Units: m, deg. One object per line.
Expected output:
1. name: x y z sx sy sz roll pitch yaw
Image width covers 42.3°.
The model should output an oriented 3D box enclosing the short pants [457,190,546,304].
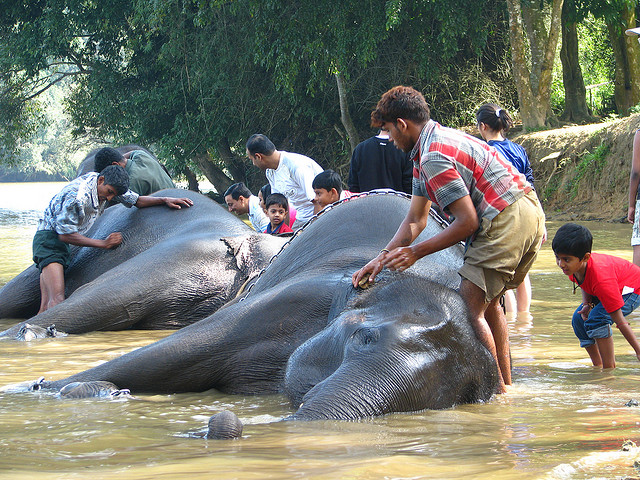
1. short pants: 1.147 0.033 5.170 0.645 0.669 0.250 -6 8 -38

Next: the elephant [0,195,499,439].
1. elephant: -0.071 0.425 5.107 2.195 1.166 1.473 2 6 31

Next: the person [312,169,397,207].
1. person: 0.298 -0.453 7.179 0.448 0.246 0.881 21 13 25

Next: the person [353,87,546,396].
1. person: 0.843 -0.017 5.150 1.252 1.882 0.959 -2 6 -8

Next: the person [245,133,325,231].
1. person: -0.316 -0.516 9.175 0.849 1.315 0.525 4 23 20

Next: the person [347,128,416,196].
1. person: 0.541 -0.565 7.580 0.641 0.756 0.307 3 -31 -3

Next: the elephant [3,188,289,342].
1. elephant: -1.685 0.538 8.143 1.567 1.239 2.691 -22 26 -25
